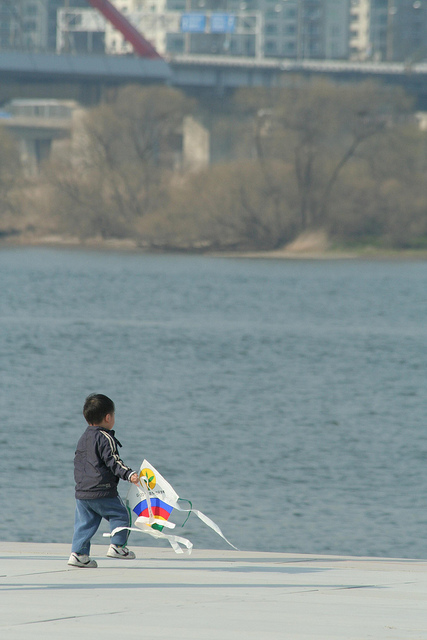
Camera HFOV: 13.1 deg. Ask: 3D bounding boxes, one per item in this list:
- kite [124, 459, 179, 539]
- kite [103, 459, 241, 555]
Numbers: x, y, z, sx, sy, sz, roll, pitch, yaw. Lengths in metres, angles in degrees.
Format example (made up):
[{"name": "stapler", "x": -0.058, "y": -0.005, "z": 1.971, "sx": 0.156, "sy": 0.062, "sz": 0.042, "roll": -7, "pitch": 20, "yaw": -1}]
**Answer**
[{"name": "kite", "x": -2.147, "y": 6.132, "z": 63.803, "sx": 1.975, "sy": 3.484, "sz": 0.492, "roll": -8, "pitch": 38, "yaw": 2}, {"name": "kite", "x": -1.714, "y": 6.066, "z": 64.369, "sx": 3.387, "sy": 2.559, "sz": 3.325, "roll": 20, "pitch": 38, "yaw": 22}]
